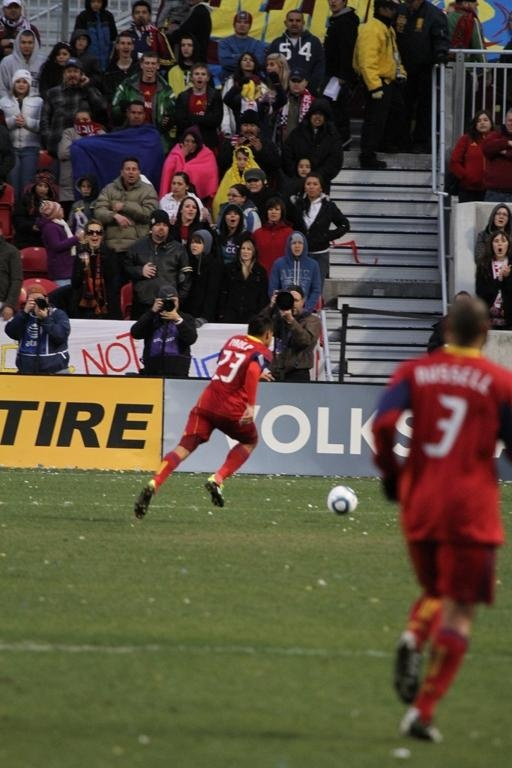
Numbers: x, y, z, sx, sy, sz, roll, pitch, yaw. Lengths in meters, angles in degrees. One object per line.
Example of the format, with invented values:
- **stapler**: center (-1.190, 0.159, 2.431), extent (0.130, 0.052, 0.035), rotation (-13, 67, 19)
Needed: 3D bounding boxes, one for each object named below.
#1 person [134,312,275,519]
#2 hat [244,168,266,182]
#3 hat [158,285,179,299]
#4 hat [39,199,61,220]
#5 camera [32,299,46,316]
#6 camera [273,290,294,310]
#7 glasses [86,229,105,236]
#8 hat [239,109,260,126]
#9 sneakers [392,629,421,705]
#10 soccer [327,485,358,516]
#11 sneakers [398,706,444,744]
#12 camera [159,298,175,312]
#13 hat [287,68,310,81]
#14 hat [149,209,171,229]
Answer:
- **person**: center (-0.381, 0.224, 8.820), extent (0.603, 1.488, 1.305), rotation (7, 6, 32)
- **hat**: center (-0.019, -2.522, 13.752), extent (0.206, 0.178, 0.253), rotation (7, 7, 38)
- **hat**: center (-0.847, -0.875, 10.838), extent (0.134, 0.128, 0.172), rotation (-2, 10, -7)
- **hat**: center (-2.445, -2.059, 13.527), extent (0.259, 0.183, 0.231), rotation (5, 7, 15)
- **camera**: center (-2.157, -0.770, 11.437), extent (0.126, 0.196, 0.184), rotation (2, 5, -10)
- **camera**: center (0.255, -0.827, 11.322), extent (0.195, 0.186, 0.234), rotation (2, 7, 1)
- **glasses**: center (-1.757, -1.651, 12.441), extent (0.166, 0.093, 0.094), rotation (1, 5, -17)
- **hat**: center (-0.091, -3.420, 14.701), extent (0.227, 0.223, 0.294), rotation (2, 6, -1)
- **sneakers**: center (0.603, 1.172, 4.742), extent (0.103, 0.288, 0.142), rotation (0, -7, 45)
- **soccer**: center (0.584, 0.827, 7.992), extent (0.181, 0.208, 0.260), rotation (3, 5, 1)
- **sneakers**: center (0.673, 1.423, 4.777), extent (0.185, 0.101, 0.136), rotation (42, -23, -31)
- **camera**: center (-0.836, -0.740, 10.742), extent (0.110, 0.121, 0.077), rotation (3, 5, -1)
- **hat**: center (0.534, -4.020, 14.921), extent (0.211, 0.134, 0.286), rotation (1, -7, 10)
- **hat**: center (-1.048, -1.806, 12.423), extent (0.161, 0.161, 0.200), rotation (2, -2, -7)
